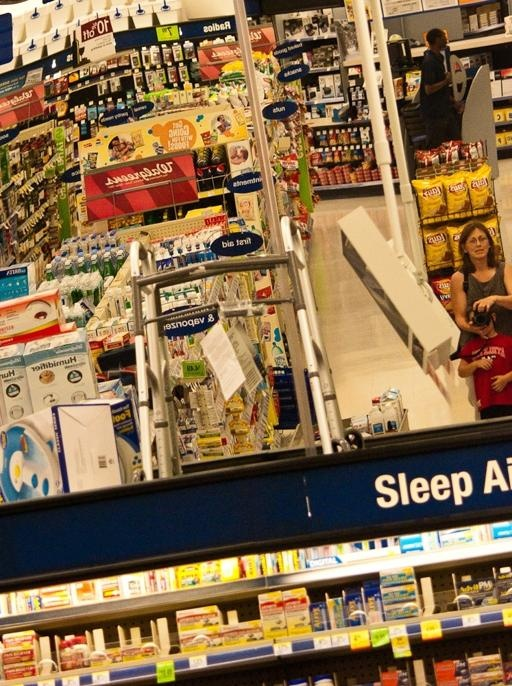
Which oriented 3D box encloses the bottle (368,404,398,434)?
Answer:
[{"bbox_3d":[0.594,0.362,3.986,0.133,0.212,0.107,-4,-13,36],"label":"bottle"}]
